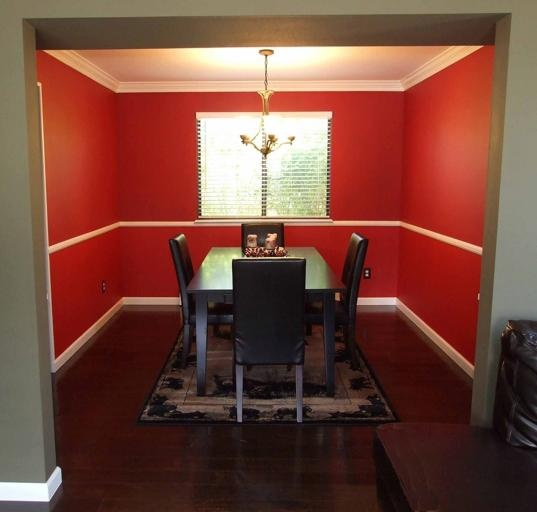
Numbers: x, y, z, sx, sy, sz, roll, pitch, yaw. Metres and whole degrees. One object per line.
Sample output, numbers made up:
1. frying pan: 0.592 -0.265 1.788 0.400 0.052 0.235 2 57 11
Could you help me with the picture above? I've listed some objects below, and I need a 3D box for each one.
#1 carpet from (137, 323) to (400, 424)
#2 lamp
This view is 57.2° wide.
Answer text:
1. carpet: -0.009 0.919 3.694 1.648 0.052 1.249 0 11 1
2. lamp: -0.022 -1.304 4.222 0.384 0.901 0.381 9 14 32
